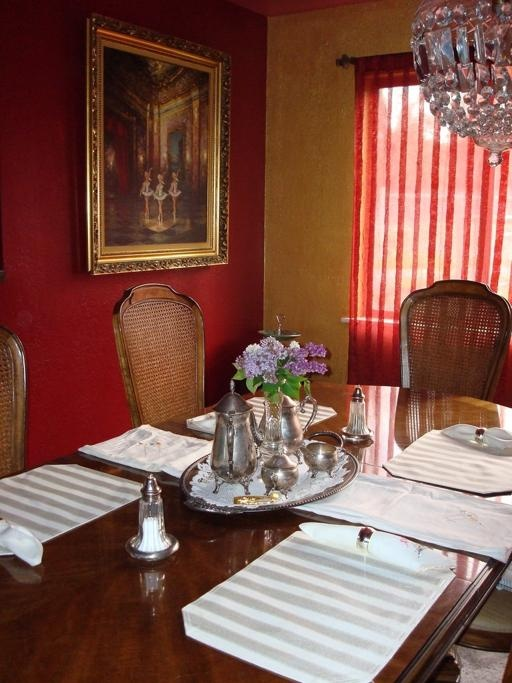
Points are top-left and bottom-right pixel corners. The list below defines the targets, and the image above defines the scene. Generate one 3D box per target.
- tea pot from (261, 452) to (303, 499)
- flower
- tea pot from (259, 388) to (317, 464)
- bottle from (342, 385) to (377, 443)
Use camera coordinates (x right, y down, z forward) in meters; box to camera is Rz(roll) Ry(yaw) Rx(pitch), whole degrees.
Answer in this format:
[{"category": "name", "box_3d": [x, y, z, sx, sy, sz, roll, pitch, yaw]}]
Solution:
[{"category": "tea pot", "box_3d": [0.046, 0.265, 1.193, 0.087, 0.100, 0.082, 4, 15, -1]}, {"category": "flower", "box_3d": [0.051, 0.061, 1.297, 0.186, 0.133, 0.170, 8, 7, -6]}, {"category": "tea pot", "box_3d": [0.096, 0.211, 1.412, 0.162, 0.167, 0.113, 4, -22, -34]}, {"category": "bottle", "box_3d": [0.298, 0.208, 1.668, 0.099, 0.154, 0.097, -1, 6, 0]}]
